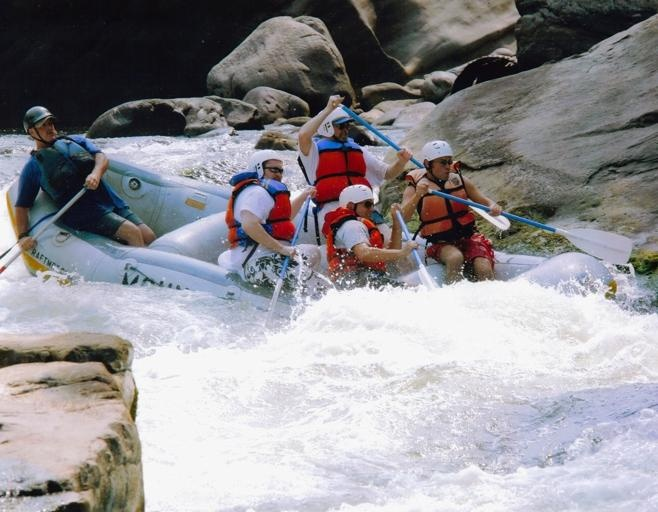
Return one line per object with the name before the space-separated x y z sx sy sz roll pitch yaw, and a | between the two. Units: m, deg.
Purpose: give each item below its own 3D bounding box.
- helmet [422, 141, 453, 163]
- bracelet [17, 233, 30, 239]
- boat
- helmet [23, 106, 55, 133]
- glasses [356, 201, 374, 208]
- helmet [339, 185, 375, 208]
helmet | 0.915 -0.939 7.087 0.214 0.127 0.263 -18 -5 -40
bracelet | -2.700 -0.187 7.054 0.079 0.041 0.072 -2 -7 -35
boat | -0.165 -0.011 6.898 4.642 0.676 1.842 11 16 0
helmet | -2.641 -1.270 7.259 0.259 0.204 0.286 -2 -1 -16
glasses | 0.316 -0.442 6.722 0.091 0.070 0.025 1 35 -25
helmet | 0.230 -0.515 6.794 0.285 0.175 0.186 -25 -1 12
